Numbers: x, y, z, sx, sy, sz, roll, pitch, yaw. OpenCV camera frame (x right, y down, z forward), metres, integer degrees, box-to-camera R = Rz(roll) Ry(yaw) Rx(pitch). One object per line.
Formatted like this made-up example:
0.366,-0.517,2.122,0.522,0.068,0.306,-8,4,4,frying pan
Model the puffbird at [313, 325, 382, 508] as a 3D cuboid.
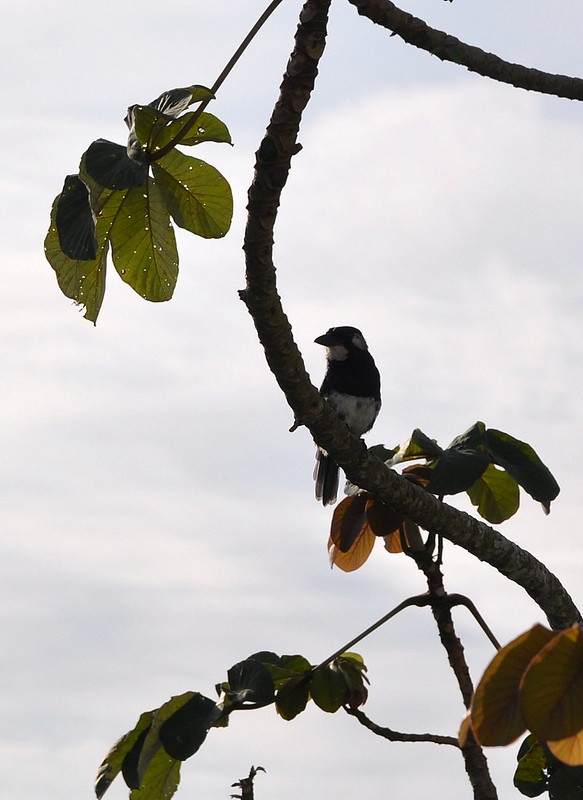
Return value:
0.349,0.053,9.055,0.304,0.574,0.920,-2,-66,-8,puffbird
